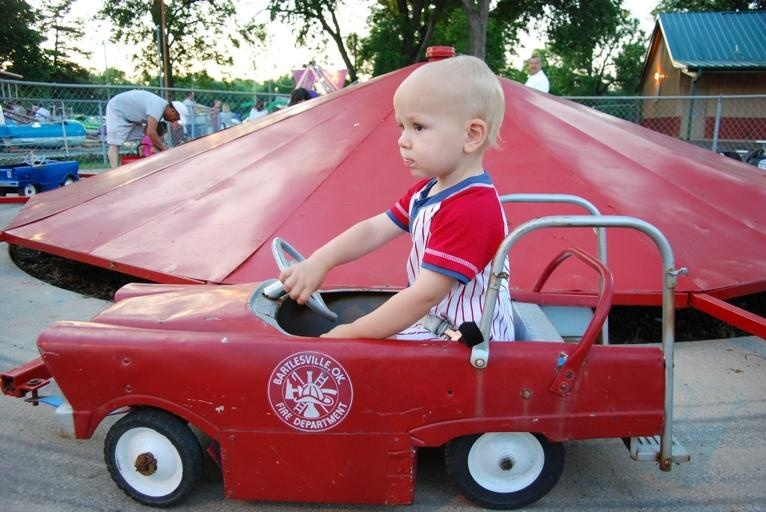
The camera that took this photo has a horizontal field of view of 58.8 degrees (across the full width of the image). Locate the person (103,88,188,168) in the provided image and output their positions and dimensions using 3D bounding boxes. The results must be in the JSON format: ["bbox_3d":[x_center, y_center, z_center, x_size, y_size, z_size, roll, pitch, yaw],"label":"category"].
[{"bbox_3d":[-3.050,-1.582,8.592,0.928,1.058,0.689,-1,22,-31],"label":"person"}]

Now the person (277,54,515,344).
[{"bbox_3d":[0.094,-0.176,2.955,0.921,1.310,0.840,-1,13,-6],"label":"person"}]

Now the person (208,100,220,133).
[{"bbox_3d":[-3.083,-2.584,12.511,0.196,0.562,0.770,-1,8,-14],"label":"person"}]

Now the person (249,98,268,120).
[{"bbox_3d":[-2.255,-2.706,12.404,0.301,0.453,1.348,0,8,-10],"label":"person"}]
